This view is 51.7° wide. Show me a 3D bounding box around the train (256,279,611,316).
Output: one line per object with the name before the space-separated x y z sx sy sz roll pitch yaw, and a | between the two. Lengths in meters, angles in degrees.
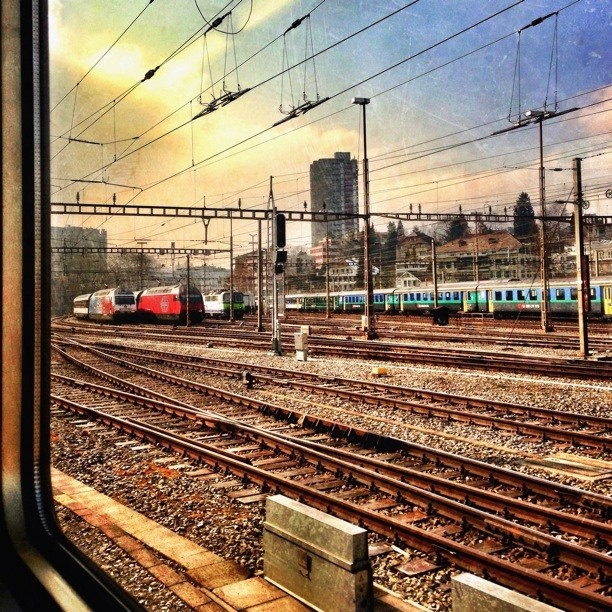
train | 8.724 -0.363 45.980 2.181 2.561 30.046 8 -1 -29

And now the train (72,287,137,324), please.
train | -16.932 0.138 54.639 2.576 3.953 14.370 -1 -1 -31

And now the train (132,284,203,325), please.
train | -10.324 -0.065 47.892 2.807 3.088 9.167 9 -1 -33

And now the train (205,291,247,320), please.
train | -6.802 -0.007 53.172 1.625 1.934 5.116 0 -4 -19
